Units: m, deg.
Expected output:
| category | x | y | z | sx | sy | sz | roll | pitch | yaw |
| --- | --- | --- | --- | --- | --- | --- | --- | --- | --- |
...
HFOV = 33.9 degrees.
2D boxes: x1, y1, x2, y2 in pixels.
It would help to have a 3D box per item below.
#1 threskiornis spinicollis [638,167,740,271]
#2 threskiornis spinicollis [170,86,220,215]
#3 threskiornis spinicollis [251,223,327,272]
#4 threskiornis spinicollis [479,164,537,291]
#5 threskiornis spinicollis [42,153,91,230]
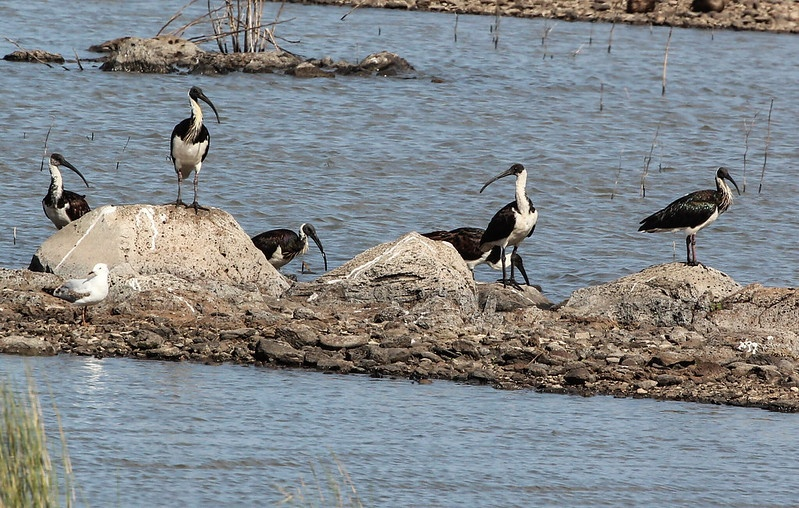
| category | x | y | z | sx | sy | sz | roll | pitch | yaw |
| --- | --- | --- | --- | --- | --- | --- | --- | --- | --- |
| threskiornis spinicollis | 8.045 | -0.885 | 36.622 | 2.560 | 3.183 | 5.428 | 1 | 1 | 10 |
| threskiornis spinicollis | -5.042 | -2.617 | 31.899 | 1.216 | 2.738 | 1.964 | 5 | 1 | -16 |
| threskiornis spinicollis | -2.866 | -0.078 | 35.094 | 1.057 | 1.373 | 2.462 | 10 | 14 | 25 |
| threskiornis spinicollis | 2.840 | -0.903 | 34.655 | 1.438 | 3.233 | 4.257 | 5 | 13 | 4 |
| threskiornis spinicollis | -8.629 | -1.486 | 33.850 | 1.056 | 2.048 | 2.914 | 0 | 13 | -15 |
